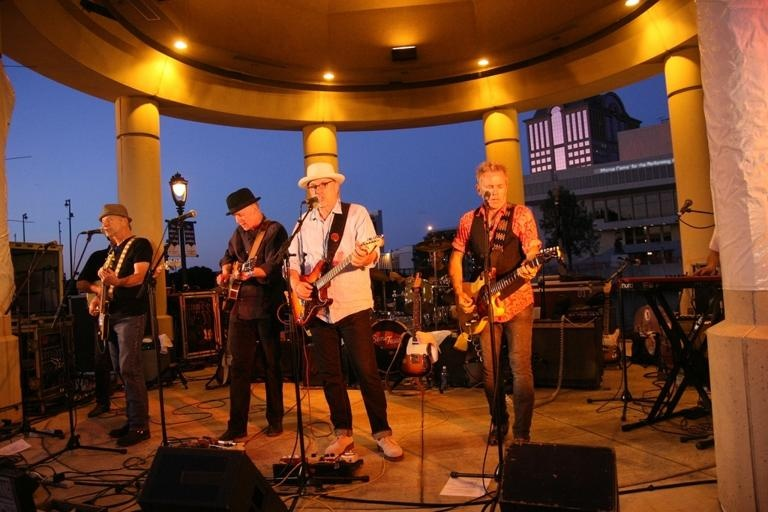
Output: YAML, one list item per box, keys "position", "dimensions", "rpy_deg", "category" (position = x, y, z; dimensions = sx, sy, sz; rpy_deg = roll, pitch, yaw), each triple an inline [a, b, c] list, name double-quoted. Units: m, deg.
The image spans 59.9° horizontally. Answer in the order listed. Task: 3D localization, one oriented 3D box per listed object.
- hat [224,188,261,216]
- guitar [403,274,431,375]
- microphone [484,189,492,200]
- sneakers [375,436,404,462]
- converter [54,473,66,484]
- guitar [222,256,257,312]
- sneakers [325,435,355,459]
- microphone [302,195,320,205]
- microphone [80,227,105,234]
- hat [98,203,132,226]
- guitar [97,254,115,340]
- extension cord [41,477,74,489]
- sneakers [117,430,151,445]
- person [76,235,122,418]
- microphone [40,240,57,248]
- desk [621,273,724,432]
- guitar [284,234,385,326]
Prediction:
- position: [-1.789, -0.661, 8.349]
  dimensions: [0.360, 0.144, 0.305]
  rpy_deg: [-32, 12, -20]
  category: "hat"
- position: [0.487, 1.090, 10.739]
  dimensions: [0.453, 1.601, 1.535]
  rpy_deg: [-4, -3, 1]
  category: "guitar"
- position: [1.150, -0.681, 7.422]
  dimensions: [0.024, 0.095, 0.094]
  rpy_deg: [-6, -19, 38]
  category: "microphone"
- position: [0.058, 2.162, 7.518]
  dimensions: [0.159, 0.159, 0.405]
  rpy_deg: [1, -10, -27]
  category: "sneakers"
- position: [-3.593, 2.446, 7.346]
  dimensions: [0.099, 0.075, 0.104]
  rpy_deg: [2, -7, -4]
  category: "converter"
- position: [-1.861, 0.416, 8.223]
  dimensions: [0.129, 0.367, 0.668]
  rpy_deg: [13, -30, -29]
  category: "guitar"
- position: [-0.495, 2.122, 7.419]
  dimensions: [0.333, 0.240, 0.172]
  rpy_deg: [4, -14, -10]
  category: "sneakers"
- position: [-0.808, -0.608, 7.268]
  dimensions: [0.140, 0.127, 0.258]
  rpy_deg: [-4, -4, -7]
  category: "microphone"
- position: [-3.574, -0.320, 8.196]
  dimensions: [0.315, 0.099, 0.093]
  rpy_deg: [-2, -2, -43]
  category: "microphone"
- position: [-3.513, -0.577, 8.755]
  dimensions: [0.252, 0.172, 0.311]
  rpy_deg: [-2, -11, -2]
  category: "hat"
- position: [-3.535, 0.482, 8.440]
  dimensions: [0.206, 1.126, 0.419]
  rpy_deg: [-2, -4, -24]
  category: "guitar"
- position: [-3.598, 2.476, 7.313]
  dimensions: [0.174, 0.048, 0.173]
  rpy_deg: [6, 2, -37]
  category: "extension cord"
- position: [-3.138, 2.270, 8.327]
  dimensions: [0.147, 0.158, 0.345]
  rpy_deg: [-1, -12, 44]
  category: "sneakers"
- position: [-4.078, 1.053, 9.434]
  dimensions: [0.855, 2.360, 0.428]
  rpy_deg: [0, 0, 41]
  category: "person"
- position: [-5.094, -0.187, 10.078]
  dimensions: [0.174, 0.060, 0.179]
  rpy_deg: [0, -1, 1]
  category: "microphone"
- position: [3.543, 0.766, 8.127]
  dimensions: [0.968, 1.146, 1.188]
  rpy_deg: [-5, 2, 23]
  category: "desk"
- position: [-0.626, 0.252, 7.556]
  dimensions: [1.056, 0.427, 0.168]
  rpy_deg: [-40, -38, 13]
  category: "guitar"
